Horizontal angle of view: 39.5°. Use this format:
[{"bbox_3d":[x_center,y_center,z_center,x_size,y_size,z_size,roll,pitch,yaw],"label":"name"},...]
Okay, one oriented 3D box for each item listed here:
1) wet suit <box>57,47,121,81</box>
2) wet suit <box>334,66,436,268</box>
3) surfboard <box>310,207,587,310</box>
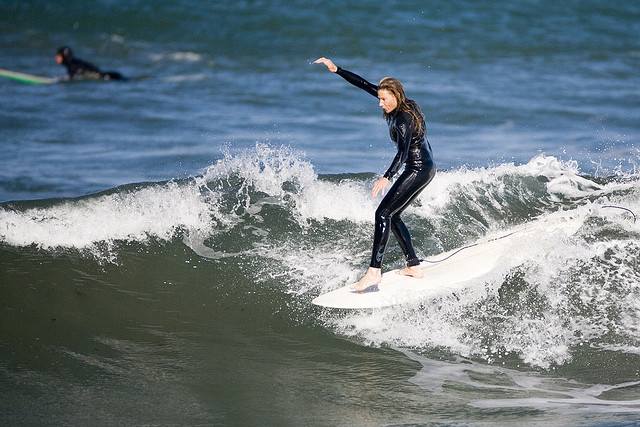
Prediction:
[{"bbox_3d":[-4.999,-3.117,19.243,1.809,0.689,0.421,1,34,-40],"label":"wet suit"},{"bbox_3d":[1.108,-0.468,13.698,1.320,2.956,0.955,14,19,29],"label":"wet suit"},{"bbox_3d":[2.024,0.790,14.394,4.559,0.355,0.688,-13,40,-13],"label":"surfboard"}]
